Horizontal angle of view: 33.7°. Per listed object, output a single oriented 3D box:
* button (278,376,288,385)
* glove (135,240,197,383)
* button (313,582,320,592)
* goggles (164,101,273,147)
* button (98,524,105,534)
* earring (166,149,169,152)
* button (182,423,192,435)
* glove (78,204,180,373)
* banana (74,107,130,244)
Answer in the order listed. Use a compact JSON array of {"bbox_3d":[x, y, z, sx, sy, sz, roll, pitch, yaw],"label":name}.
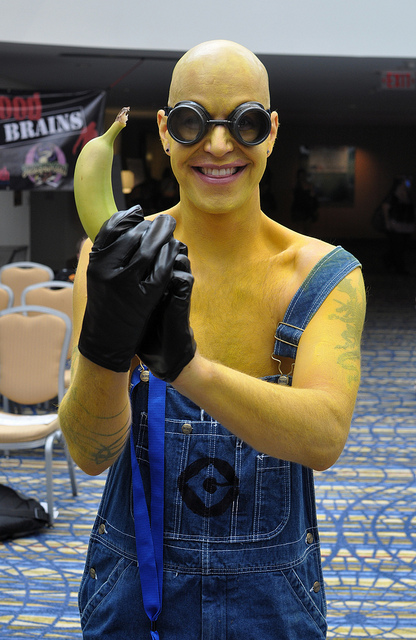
[{"bbox_3d":[0.132,0.106,1.218,0.015,0.013,0.014,-1,5,-20],"label":"button"},{"bbox_3d":[-0.048,-0.016,0.931,0.064,0.167,0.130,-13,14,-37],"label":"glove"},{"bbox_3d":[0.203,0.496,1.284,0.011,0.012,0.003,-3,8,-28],"label":"button"},{"bbox_3d":[0.017,-0.333,1.169,0.172,0.075,0.071,0,11,-2],"label":"goggles"},{"bbox_3d":[-0.198,0.388,1.284,0.004,0.014,0.015,13,-6,-42],"label":"button"},{"bbox_3d":[-0.074,-0.311,1.253,0.005,0.004,0.004,1,-8,-4],"label":"earring"},{"bbox_3d":[-0.037,0.191,1.218,0.020,0.018,0.004,-6,4,4],"label":"button"},{"bbox_3d":[-0.106,-0.036,0.911,0.132,0.226,0.078,-2,12,-10],"label":"glove"},{"bbox_3d":[-0.168,-0.226,1.105,0.103,0.057,0.285,-12,-19,-8],"label":"banana"}]
